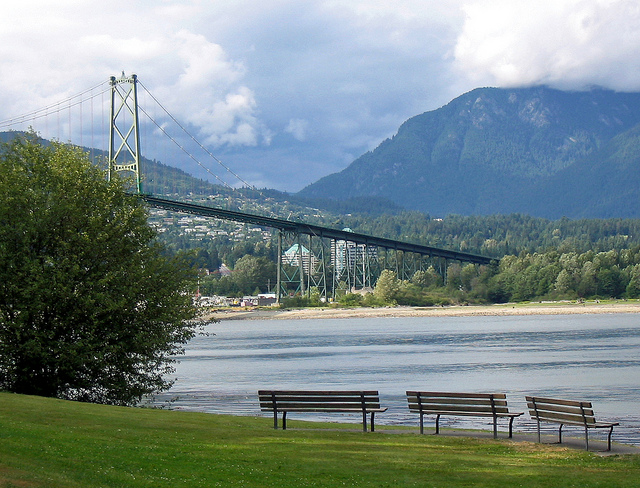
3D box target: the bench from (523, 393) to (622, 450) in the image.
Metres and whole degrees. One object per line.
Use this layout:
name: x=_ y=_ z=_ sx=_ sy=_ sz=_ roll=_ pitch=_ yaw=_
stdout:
bench: x=12.047 y=8.568 z=63.806 sx=1.976 sy=2.366 sz=4.813 roll=1 pitch=-2 yaw=-32

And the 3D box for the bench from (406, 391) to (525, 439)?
bench: x=6.975 y=8.387 z=65.008 sx=5.650 sy=2.227 sz=2.008 roll=-2 pitch=-6 yaw=33

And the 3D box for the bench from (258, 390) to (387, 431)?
bench: x=-0.057 y=8.081 z=64.585 sx=5.713 sy=1.913 sz=1.986 roll=0 pitch=-7 yaw=2
